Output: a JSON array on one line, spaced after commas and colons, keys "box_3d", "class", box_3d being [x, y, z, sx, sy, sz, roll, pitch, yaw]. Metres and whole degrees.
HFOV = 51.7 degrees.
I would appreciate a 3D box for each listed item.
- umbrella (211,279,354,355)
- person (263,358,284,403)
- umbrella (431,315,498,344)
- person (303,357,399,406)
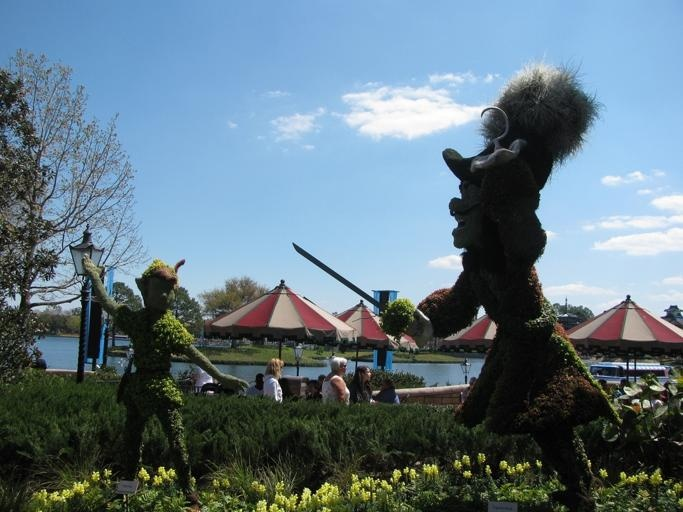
[{"box_3d": [-1.307, 1.387, 15.203, 2.305, 1.371, 2.422, 1, -8, -8], "class": "umbrella"}, {"box_3d": [-1.153, 2.250, 11.994, 0.318, 1.087, 0.413, -6, 23, -21], "class": "person"}, {"box_3d": [3.104, 1.699, 16.402, 0.895, 0.644, 1.728, -4, -8, 11], "class": "umbrella"}, {"box_3d": [0.261, 2.290, 12.612, 1.259, 0.820, 0.862, -1, -8, -2], "class": "person"}]
